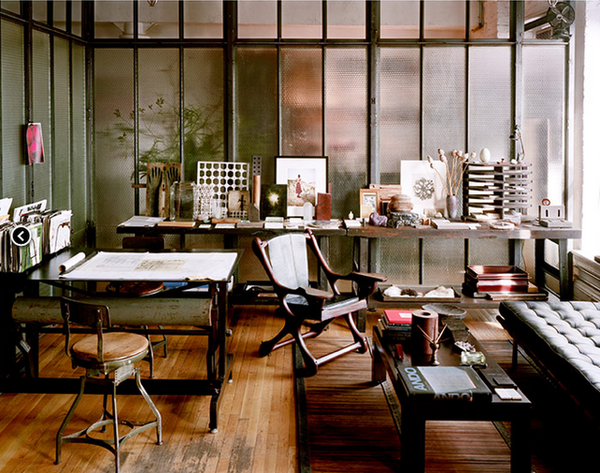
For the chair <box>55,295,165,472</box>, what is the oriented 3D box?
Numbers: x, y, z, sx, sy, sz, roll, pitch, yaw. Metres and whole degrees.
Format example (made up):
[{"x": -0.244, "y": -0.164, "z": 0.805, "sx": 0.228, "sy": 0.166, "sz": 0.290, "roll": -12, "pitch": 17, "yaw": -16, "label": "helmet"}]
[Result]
[{"x": -1.353, "y": 0.855, "z": 3.684, "sx": 0.697, "sy": 1.088, "sz": 1.141, "roll": -5, "pitch": 15, "yaw": -16, "label": "chair"}]

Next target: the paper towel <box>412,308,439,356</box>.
[{"x": 0.874, "y": 0.686, "z": 3.765, "sx": 0.238, "sy": 0.262, "sz": 0.231, "roll": -3, "pitch": 6, "yaw": -14, "label": "paper towel"}]

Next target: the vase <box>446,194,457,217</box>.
[{"x": 1.738, "y": -0.347, "z": 6.103, "sx": 0.127, "sy": 0.248, "sz": 0.149, "roll": 3, "pitch": 14, "yaw": 14, "label": "vase"}]

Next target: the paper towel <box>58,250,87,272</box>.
[{"x": -1.765, "y": 0.204, "z": 4.151, "sx": 0.068, "sy": 0.059, "sz": 0.333, "roll": 43, "pitch": 18, "yaw": -5, "label": "paper towel"}]

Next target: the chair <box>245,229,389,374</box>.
[{"x": 0.098, "y": 0.497, "z": 5.164, "sx": 1.253, "sy": 1.377, "sz": 1.210, "roll": 4, "pitch": 8, "yaw": 45, "label": "chair"}]

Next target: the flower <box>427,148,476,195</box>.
[{"x": 1.792, "y": -0.731, "z": 6.374, "sx": 0.541, "sy": 0.635, "sz": 0.558, "roll": -2, "pitch": 2, "yaw": 13, "label": "flower"}]

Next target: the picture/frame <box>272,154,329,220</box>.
[{"x": 0.022, "y": -0.549, "z": 6.162, "sx": 0.810, "sy": 0.873, "sz": 0.036, "roll": 0, "pitch": -5, "yaw": 0, "label": "picture/frame"}]
